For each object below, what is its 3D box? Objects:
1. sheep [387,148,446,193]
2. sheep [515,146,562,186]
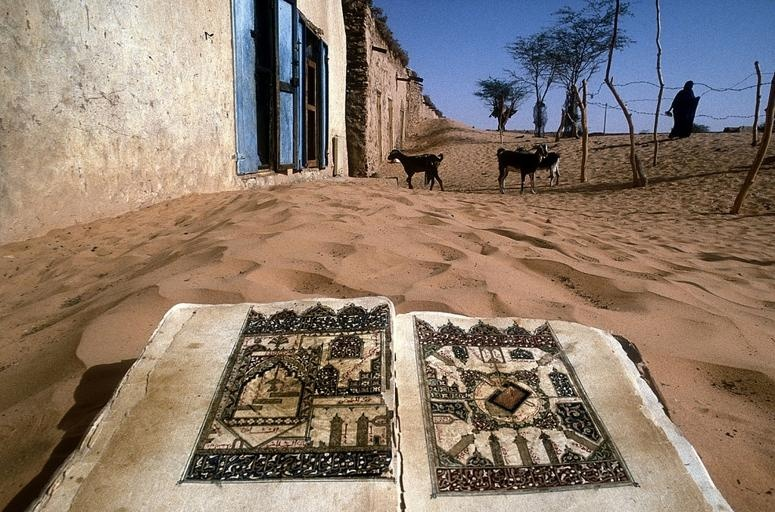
[{"bbox_3d":[0.765,-2.087,9.403,0.940,0.862,0.994,-3,20,-20],"label":"sheep"},{"bbox_3d":[4.134,-2.526,10.444,0.643,0.956,1.423,9,2,-44],"label":"sheep"}]
